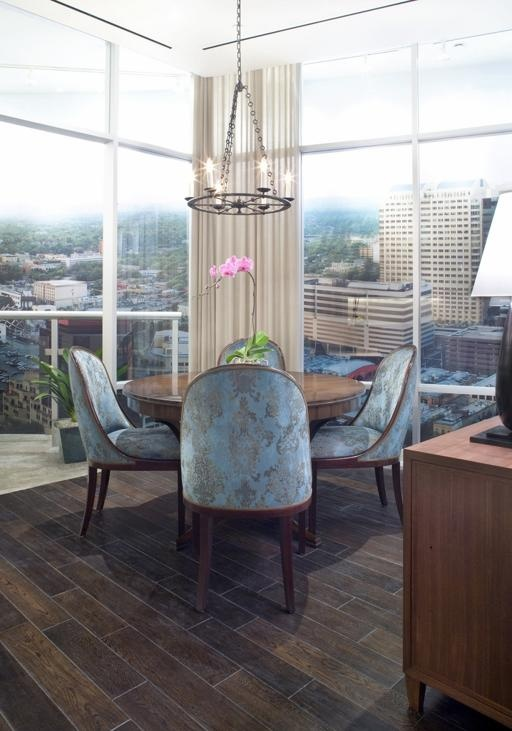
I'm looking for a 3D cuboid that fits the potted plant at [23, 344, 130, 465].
[{"bbox_3d":[-1.262,0.252,4.365,0.928,1.097,0.776,-2,3,-13],"label":"potted plant"}]
